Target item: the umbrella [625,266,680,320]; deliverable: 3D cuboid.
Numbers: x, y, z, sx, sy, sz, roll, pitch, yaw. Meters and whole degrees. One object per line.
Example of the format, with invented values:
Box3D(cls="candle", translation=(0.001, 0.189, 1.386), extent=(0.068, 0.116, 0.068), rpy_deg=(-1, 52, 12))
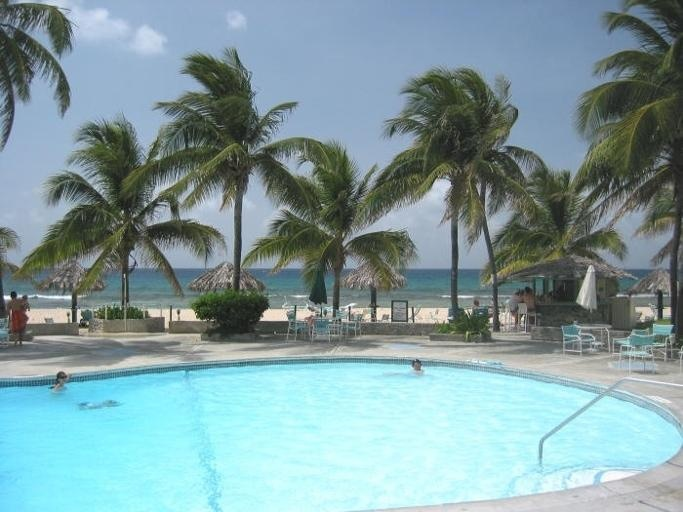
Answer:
Box3D(cls="umbrella", translation=(14.593, 1.323, 30.845), extent=(2.995, 1.945, 3.206), rpy_deg=(-1, -4, 25))
